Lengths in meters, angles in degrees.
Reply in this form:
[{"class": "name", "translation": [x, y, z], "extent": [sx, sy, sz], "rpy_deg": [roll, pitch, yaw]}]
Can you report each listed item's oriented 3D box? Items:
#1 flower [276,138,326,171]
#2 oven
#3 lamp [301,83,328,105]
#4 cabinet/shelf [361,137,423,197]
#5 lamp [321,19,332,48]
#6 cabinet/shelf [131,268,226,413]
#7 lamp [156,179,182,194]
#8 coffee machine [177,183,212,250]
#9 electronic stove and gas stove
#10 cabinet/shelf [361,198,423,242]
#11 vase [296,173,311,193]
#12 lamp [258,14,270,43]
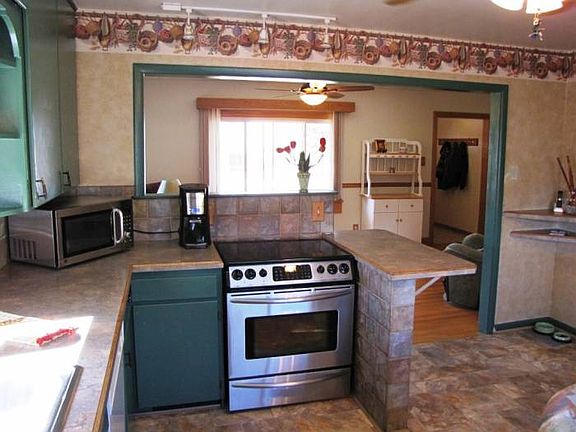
[{"class": "flower", "translation": [0.178, -0.911, 6.415], "extent": [0.869, 0.597, 0.790], "rpy_deg": [-4, 7, -6]}, {"class": "oven", "translation": [-0.040, 0.910, 3.522], "extent": [0.980, 0.967, 0.689], "rpy_deg": [-1, 8, -15]}, {"class": "lamp", "translation": [0.288, -1.445, 5.232], "extent": [0.302, 0.225, 0.474], "rpy_deg": [0, 13, 2]}, {"class": "cabinet/shelf", "translation": [1.691, -0.853, 7.422], "extent": [0.946, 0.910, 0.437], "rpy_deg": [-2, 11, -5]}, {"class": "lamp", "translation": [0.323, -1.539, 3.763], "extent": [0.077, 0.213, 0.199], "rpy_deg": [1, 13, 5]}, {"class": "cabinet/shelf", "translation": [-0.804, 0.835, 3.461], "extent": [0.649, 0.971, 0.728], "rpy_deg": [2, 9, -23]}, {"class": "lamp", "translation": [-1.575, -0.385, 5.827], "extent": [0.276, 0.176, 0.848], "rpy_deg": [-4, 14, -17]}, {"class": "coffee machine", "translation": [-0.741, -0.008, 3.501], "extent": [0.245, 0.481, 0.227], "rpy_deg": [-3, 13, -12]}, {"class": "electronic stove and gas stove", "translation": [-0.038, 0.341, 3.449], "extent": [1.019, 0.201, 0.612], "rpy_deg": [-2, 13, -10]}, {"class": "cabinet/shelf", "translation": [1.709, 0.043, 7.077], "extent": [0.845, 0.710, 0.215], "rpy_deg": [0, 13, 1]}, {"class": "vase", "translation": [0.137, -0.294, 3.933], "extent": [0.151, 0.201, 0.153], "rpy_deg": [0, 5, -1]}, {"class": "lamp", "translation": [-0.200, -1.530, 3.652], "extent": [0.085, 0.219, 0.153], "rpy_deg": [-1, 13, -4]}]
